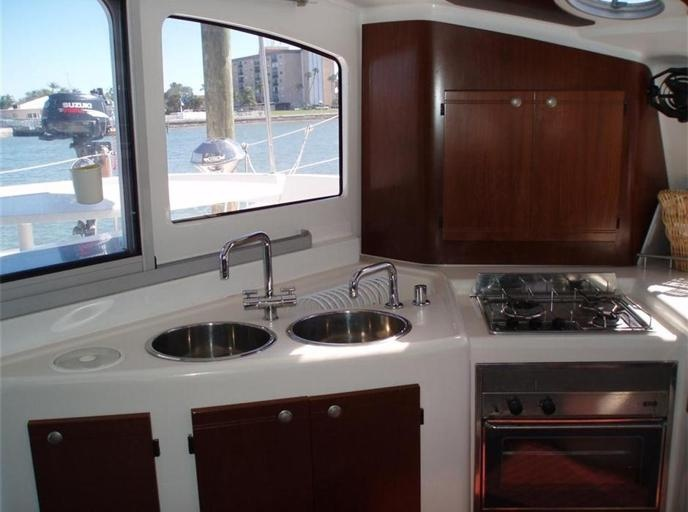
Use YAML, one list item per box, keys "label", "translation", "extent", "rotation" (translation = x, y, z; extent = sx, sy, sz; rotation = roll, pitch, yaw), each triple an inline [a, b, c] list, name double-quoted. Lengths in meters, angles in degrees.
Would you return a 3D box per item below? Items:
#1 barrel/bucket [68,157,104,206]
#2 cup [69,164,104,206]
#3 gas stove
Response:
- label: "barrel/bucket"
  translation: [-0.954, -0.281, 2.041]
  extent: [0.136, 0.147, 0.119]
  rotation: [4, 17, 3]
- label: "cup"
  translation: [-0.955, -0.271, 2.042]
  extent: [0.120, 0.144, 0.126]
  rotation: [1, 18, 0]
- label: "gas stove"
  translation: [0.904, 0.179, 2.309]
  extent: [0.690, 0.125, 0.437]
  rotation: [-2, 17, 0]
